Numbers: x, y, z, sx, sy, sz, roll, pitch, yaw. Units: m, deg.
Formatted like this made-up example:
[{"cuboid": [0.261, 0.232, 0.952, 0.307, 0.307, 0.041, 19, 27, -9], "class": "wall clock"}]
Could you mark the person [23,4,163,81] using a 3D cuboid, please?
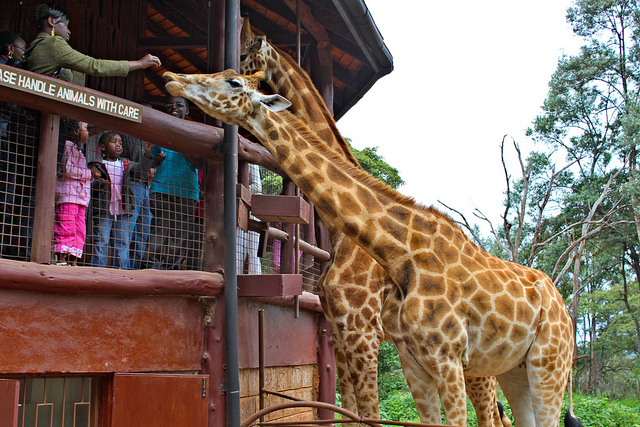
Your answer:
[{"cuboid": [-2.780, -1.904, 9.056, 1.365, 0.925, 0.976, 2, 5, -31], "class": "person"}]

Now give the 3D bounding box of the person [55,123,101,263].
[{"cuboid": [-2.871, -0.227, 8.813, 0.465, 1.644, 0.561, 9, -21, -27], "class": "person"}]

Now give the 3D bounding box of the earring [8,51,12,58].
[{"cuboid": [-3.809, -1.964, 9.141, 0.056, 0.085, 0.023, -2, 1, -3], "class": "earring"}]
